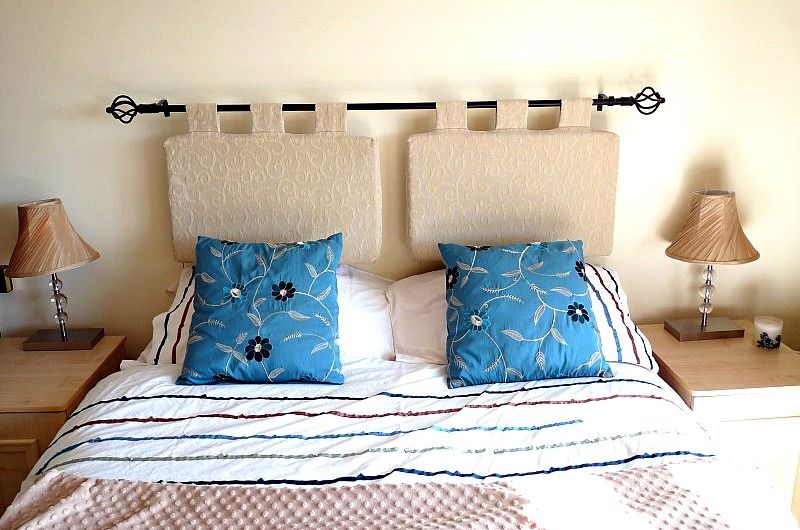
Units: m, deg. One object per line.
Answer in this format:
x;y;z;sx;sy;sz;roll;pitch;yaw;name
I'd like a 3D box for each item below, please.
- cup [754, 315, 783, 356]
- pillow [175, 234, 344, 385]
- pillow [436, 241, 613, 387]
1.820;0.338;2.858;0.163;0.162;0.156;1;5;0;cup
-0.603;0.193;2.665;0.901;0.781;0.228;2;-17;13;pillow
0.550;0.172;2.662;0.778;0.754;0.242;-4;-25;2;pillow
